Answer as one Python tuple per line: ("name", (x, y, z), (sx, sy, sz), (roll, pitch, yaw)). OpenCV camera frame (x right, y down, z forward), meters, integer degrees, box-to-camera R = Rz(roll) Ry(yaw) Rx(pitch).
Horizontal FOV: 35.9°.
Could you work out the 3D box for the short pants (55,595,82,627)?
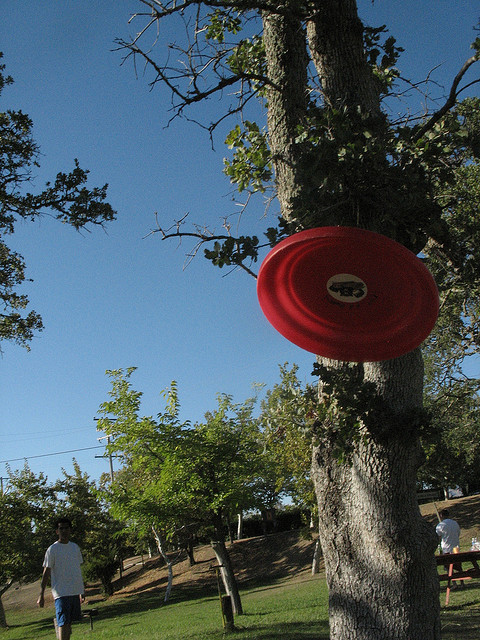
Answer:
("short pants", (-2.160, 3.622, 9.289), (0.307, 0.355, 0.322), (-3, -10, -14))
